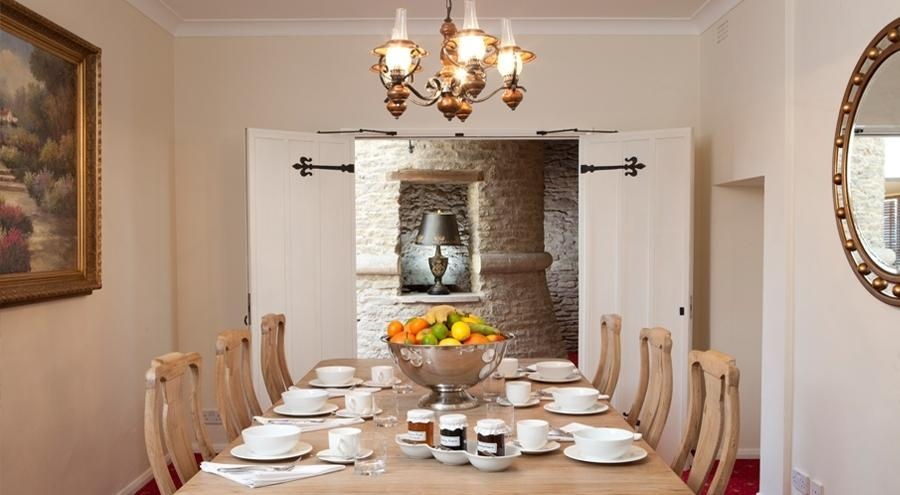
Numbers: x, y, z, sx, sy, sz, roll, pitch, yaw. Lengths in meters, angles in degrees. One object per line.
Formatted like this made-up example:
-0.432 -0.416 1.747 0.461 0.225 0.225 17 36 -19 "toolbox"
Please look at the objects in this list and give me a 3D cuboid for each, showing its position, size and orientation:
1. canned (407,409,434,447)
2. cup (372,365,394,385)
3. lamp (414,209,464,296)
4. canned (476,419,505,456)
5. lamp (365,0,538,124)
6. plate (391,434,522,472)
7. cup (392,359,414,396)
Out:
-0.169 1.035 3.385 0.193 0.163 0.181 0 -6 -3 "canned"
-0.473 0.930 4.305 0.114 0.095 0.148 3 7 28 "cup"
-0.155 0.065 8.598 0.601 1.202 0.770 -1 3 20 "lamp"
0.231 1.054 3.267 0.194 0.161 0.183 0 -5 -1 "canned"
-0.015 -1.170 4.302 1.158 1.091 1.180 2 0 -13 "lamp"
0.031 1.170 3.339 0.720 0.141 0.165 -2 3 12 "plate"
-0.340 0.962 4.122 0.134 0.132 0.127 0 2 0 "cup"
